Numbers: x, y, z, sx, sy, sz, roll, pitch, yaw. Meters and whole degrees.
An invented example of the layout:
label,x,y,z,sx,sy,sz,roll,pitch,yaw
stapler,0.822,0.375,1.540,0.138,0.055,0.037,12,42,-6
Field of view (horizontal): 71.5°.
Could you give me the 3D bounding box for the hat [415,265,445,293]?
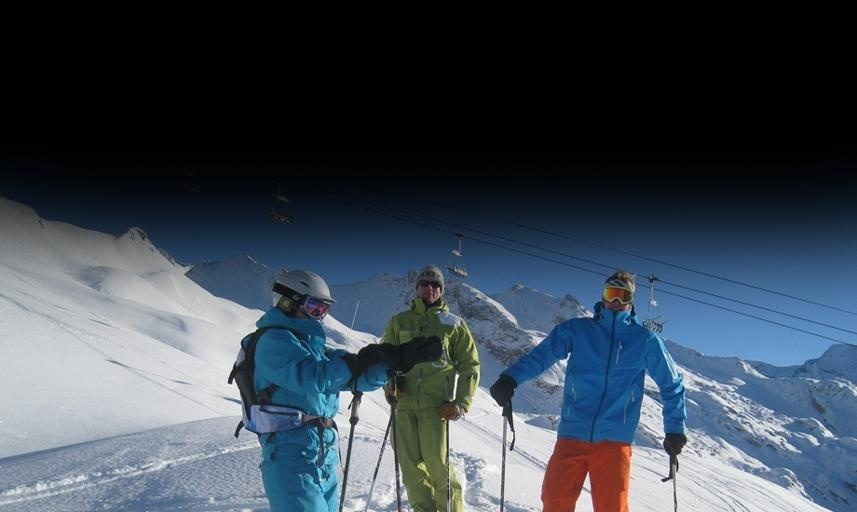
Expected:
label,x,y,z,sx,sy,sz,roll,pitch,yaw
hat,0.112,0.936,27.816,0.945,1.016,1.271,5,10,2
